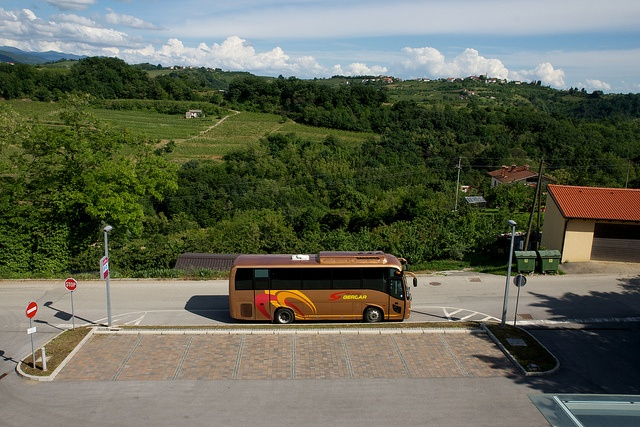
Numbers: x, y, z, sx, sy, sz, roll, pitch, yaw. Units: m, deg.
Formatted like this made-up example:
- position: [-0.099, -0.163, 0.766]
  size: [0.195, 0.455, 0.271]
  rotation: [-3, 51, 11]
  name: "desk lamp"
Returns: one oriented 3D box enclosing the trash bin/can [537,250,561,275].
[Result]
- position: [21.904, 4.756, 49.783]
  size: [2.462, 2.871, 2.001]
  rotation: [0, 0, 6]
  name: "trash bin/can"
